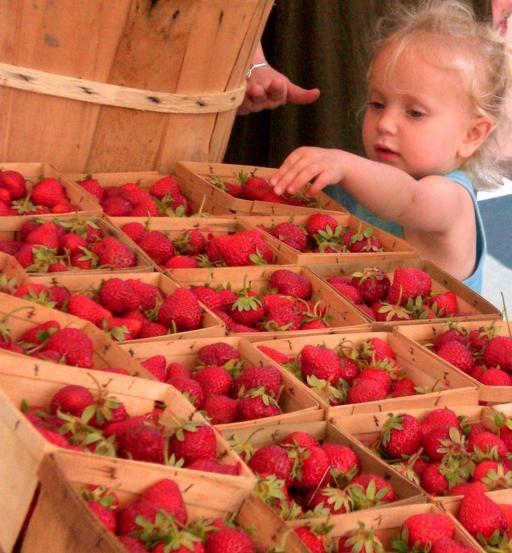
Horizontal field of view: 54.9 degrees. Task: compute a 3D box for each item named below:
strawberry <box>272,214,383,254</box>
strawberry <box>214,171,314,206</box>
[{"bbox_3d":[0.192,-0.086,1.427,0.193,0.067,0.189,20,6,36],"label":"strawberry"},{"bbox_3d":[0.011,-0.280,1.614,0.238,0.062,0.163,16,9,-7],"label":"strawberry"}]
